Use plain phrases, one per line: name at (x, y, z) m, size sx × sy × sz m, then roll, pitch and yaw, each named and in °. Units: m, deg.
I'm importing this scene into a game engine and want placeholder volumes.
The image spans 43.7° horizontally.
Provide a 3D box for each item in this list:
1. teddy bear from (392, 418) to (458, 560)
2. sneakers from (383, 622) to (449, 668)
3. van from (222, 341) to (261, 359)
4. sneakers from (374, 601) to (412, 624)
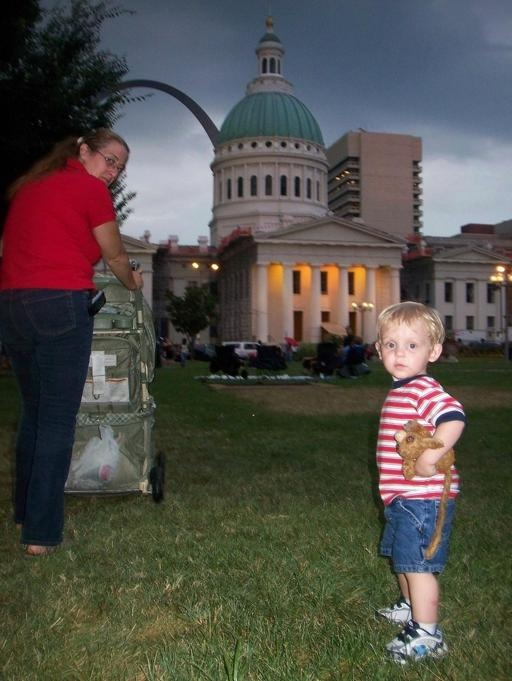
teddy bear at (0.579, 0.507, 2.226) m, size 0.198 × 0.462 × 0.234 m, roll 2°, pitch 2°, yaw 16°
sneakers at (0.511, 0.969, 2.069) m, size 0.250 × 0.103 × 0.098 m, roll 5°, pitch -5°, yaw -28°
van at (-0.555, 0.425, 44.858) m, size 2.848 × 0.997 × 1.327 m, roll -2°, pitch 7°, yaw 4°
sneakers at (0.513, 0.999, 2.347) m, size 0.171 × 0.068 × 0.059 m, roll 2°, pitch -9°, yaw -1°
